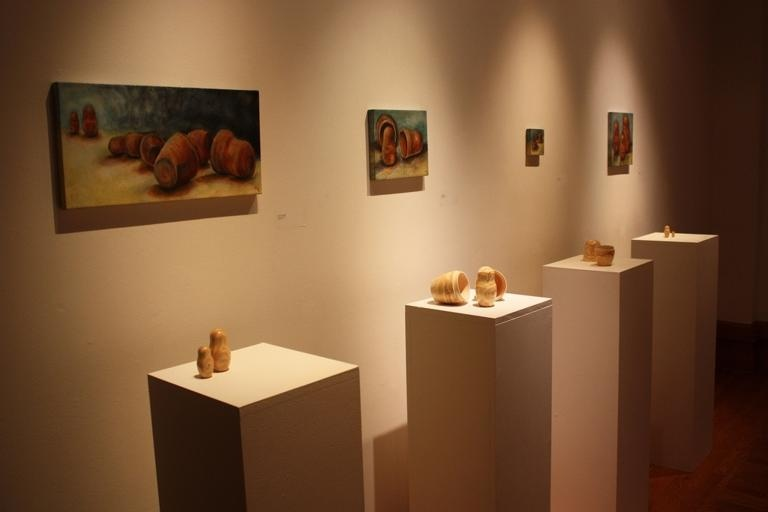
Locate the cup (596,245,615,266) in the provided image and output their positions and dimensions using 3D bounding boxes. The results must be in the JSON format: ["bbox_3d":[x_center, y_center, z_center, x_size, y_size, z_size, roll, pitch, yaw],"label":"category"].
[{"bbox_3d":[1.733,0.001,4.818,0.129,0.132,0.140,3,-2,0],"label":"cup"}]

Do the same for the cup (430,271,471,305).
[{"bbox_3d":[0.429,0.223,4.119,0.222,0.242,0.227,-2,5,0],"label":"cup"}]
